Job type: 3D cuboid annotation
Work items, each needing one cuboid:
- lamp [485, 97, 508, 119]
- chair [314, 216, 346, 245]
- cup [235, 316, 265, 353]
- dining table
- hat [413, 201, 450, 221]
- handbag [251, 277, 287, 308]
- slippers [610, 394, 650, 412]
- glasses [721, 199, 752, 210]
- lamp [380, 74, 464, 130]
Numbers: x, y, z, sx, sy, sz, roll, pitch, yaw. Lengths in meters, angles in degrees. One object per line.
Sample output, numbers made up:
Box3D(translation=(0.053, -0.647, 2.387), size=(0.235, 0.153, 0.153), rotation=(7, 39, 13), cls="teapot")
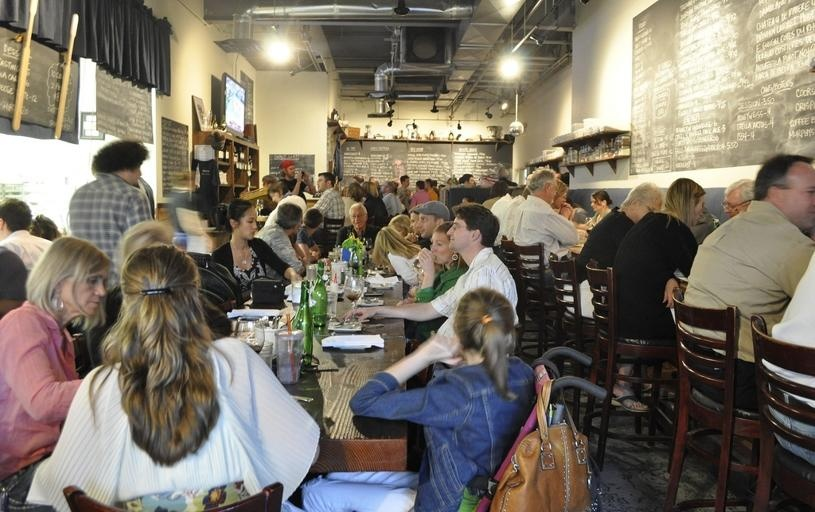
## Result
Box3D(translation=(2.427, -4.011, 16.293), size=(0.638, 0.582, 1.468), rotation=(1, 5, 7), cls="lamp")
Box3D(translation=(-1.040, -0.341, 8.010), size=(0.362, 0.551, 0.362), rotation=(-4, 16, -23), cls="chair")
Box3D(translation=(-0.744, 0.385, 2.877), size=(0.140, 0.179, 0.151), rotation=(-1, -3, 0), cls="cup")
Box3D(translation=(-0.339, 0.585, 2.560), size=(0.640, 0.228, 0.962), rotation=(-1, 24, -4), cls="dining table")
Box3D(translation=(0.214, -0.402, 5.293), size=(0.272, 0.132, 0.182), rotation=(10, 3, -9), cls="hat")
Box3D(translation=(-0.917, 0.252, 4.002), size=(0.288, 0.216, 0.162), rotation=(2, 5, -2), cls="handbag")
Box3D(translation=(1.561, 1.049, 4.237), size=(0.117, 0.075, 0.275), rotation=(0, -4, -16), cls="slippers")
Box3D(translation=(2.585, -0.395, 4.705), size=(0.174, 0.048, 0.170), rotation=(1, 6, -5), cls="glasses")
Box3D(translation=(0.093, -4.087, 14.906), size=(2.214, 1.537, 1.435), rotation=(-1, 2, -6), cls="lamp")
